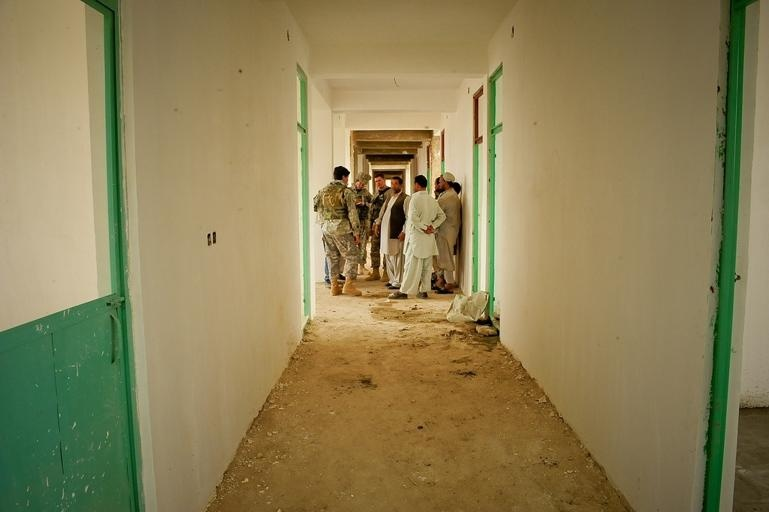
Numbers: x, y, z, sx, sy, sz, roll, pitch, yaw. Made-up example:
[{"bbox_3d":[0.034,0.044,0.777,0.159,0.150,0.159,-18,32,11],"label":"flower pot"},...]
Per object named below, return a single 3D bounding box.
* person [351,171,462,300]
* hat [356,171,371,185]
[{"bbox_3d":[0.527,-0.267,8.595,0.859,1.986,1.057,0,9,5],"label":"person"},{"bbox_3d":[-0.419,-1.488,10.505,0.240,0.208,0.268,5,22,4],"label":"hat"}]
